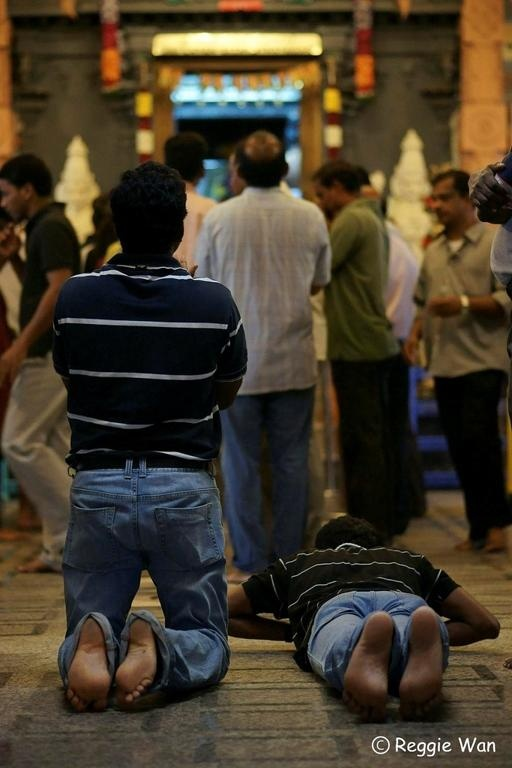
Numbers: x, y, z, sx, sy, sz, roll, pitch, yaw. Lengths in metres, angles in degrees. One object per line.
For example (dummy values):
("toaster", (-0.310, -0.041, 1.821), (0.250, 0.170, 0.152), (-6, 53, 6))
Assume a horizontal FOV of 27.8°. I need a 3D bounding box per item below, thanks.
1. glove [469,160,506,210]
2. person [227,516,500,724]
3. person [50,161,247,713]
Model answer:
("glove", (0.588, -0.513, 2.712), (0.052, 0.085, 0.116), (40, -18, -17))
("person", (0.302, 0.552, 2.581), (0.531, 0.379, 0.771), (-1, 0, -25))
("person", (-0.238, 0.216, 2.472), (0.478, 1.063, 0.411), (-1, 0, -11))
